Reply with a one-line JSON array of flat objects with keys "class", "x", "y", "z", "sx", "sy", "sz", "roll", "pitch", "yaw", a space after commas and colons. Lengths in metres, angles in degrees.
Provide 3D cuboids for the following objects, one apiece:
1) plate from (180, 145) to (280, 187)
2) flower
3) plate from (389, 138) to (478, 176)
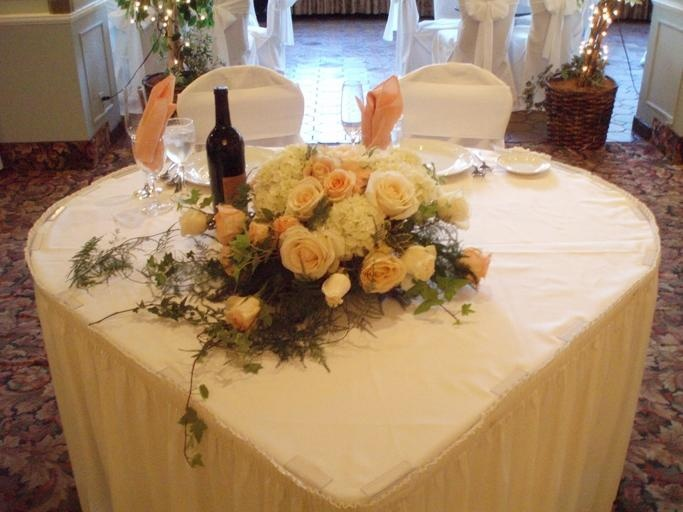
[{"class": "plate", "x": -0.400, "y": -0.318, "z": 1.788, "sx": 0.251, "sy": 0.046, "sz": 0.224, "roll": -2, "pitch": 31, "yaw": 2}, {"class": "flower", "x": -0.022, "y": -0.038, "z": 1.240, "sx": 0.665, "sy": 0.291, "sz": 0.666, "roll": -28, "pitch": 28, "yaw": -34}, {"class": "plate", "x": 0.345, "y": -0.363, "z": 1.825, "sx": 0.248, "sy": 0.031, "sz": 0.261, "roll": -15, "pitch": 36, "yaw": -20}]
